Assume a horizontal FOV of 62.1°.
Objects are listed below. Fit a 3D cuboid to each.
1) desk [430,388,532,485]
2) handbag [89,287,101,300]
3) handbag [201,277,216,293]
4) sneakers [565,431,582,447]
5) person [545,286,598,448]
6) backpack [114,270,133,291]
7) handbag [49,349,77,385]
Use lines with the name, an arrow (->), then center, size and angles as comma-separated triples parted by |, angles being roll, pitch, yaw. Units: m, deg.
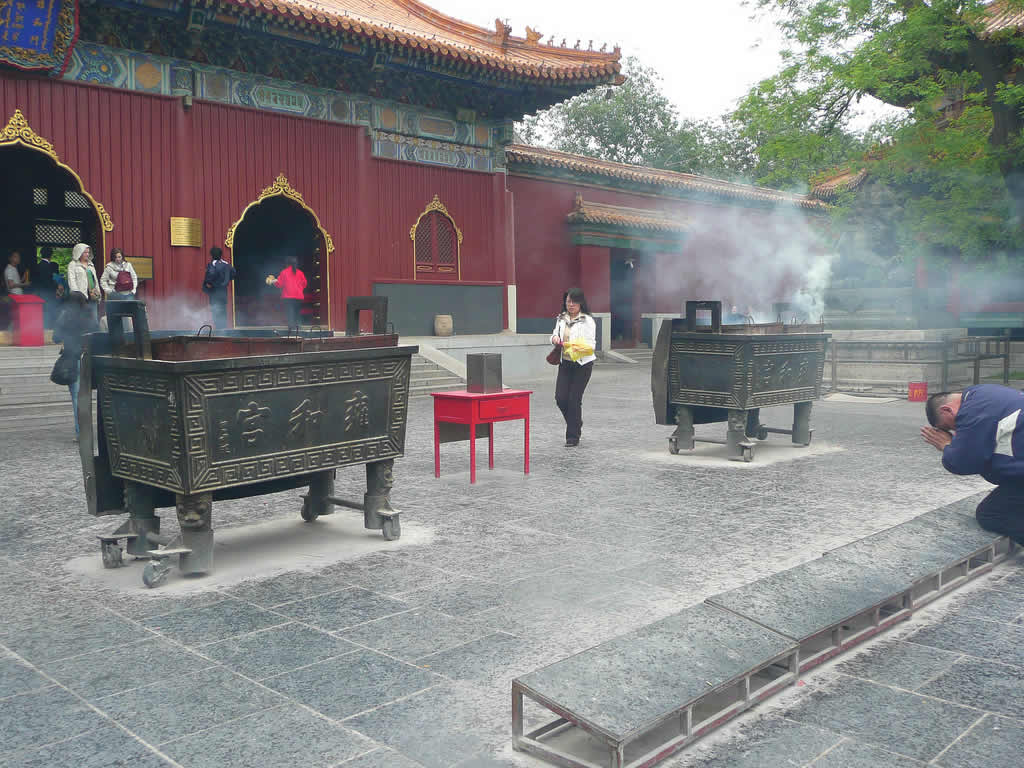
desk -> -0.265, 0.404, 7.227 | 0.772, 0.600, 0.557 | -1, -2, -39
handbag -> -5.152, -1.113, 10.449 | 0.152, 0.179, 0.077 | 5, -13, -7
handbag -> -4.456, -1.474, 12.366 | 0.150, 0.247, 0.330 | -3, 7, -20
sneakers -> 0.627, 0.557, 8.750 | 0.156, 0.172, 0.435 | -2, -3, 12
person -> 0.605, -0.177, 8.761 | 0.462, 1.612, 0.450 | 0, 7, 4
backpack -> -5.356, -1.419, 11.595 | 0.312, 0.303, 0.152 | 0, -6, -34
handbag -> -4.209, -0.158, 7.941 | 0.215, 0.333, 0.374 | -4, 8, -28
